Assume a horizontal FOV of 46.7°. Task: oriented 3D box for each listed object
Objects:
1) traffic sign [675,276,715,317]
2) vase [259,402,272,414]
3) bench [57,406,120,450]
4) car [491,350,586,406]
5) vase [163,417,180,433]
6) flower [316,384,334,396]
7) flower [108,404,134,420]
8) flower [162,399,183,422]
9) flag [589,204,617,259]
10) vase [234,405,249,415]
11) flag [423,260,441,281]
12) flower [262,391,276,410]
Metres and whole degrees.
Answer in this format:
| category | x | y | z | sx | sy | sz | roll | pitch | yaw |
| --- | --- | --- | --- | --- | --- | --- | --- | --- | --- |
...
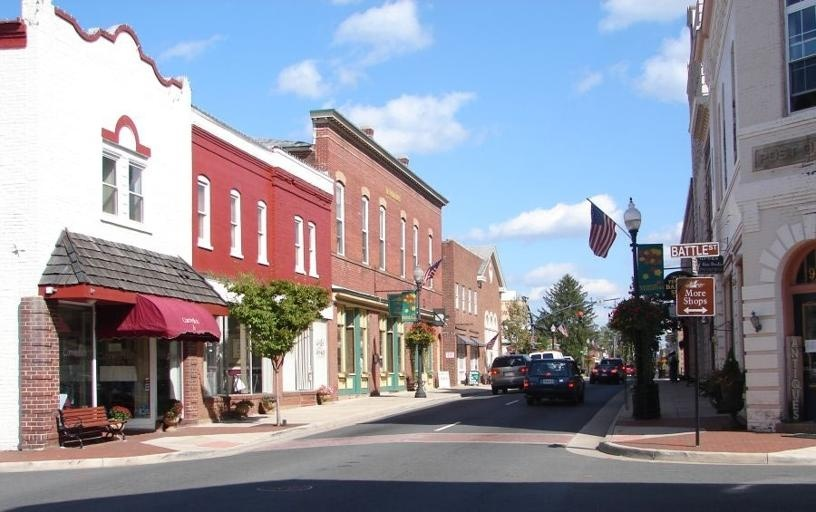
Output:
| category | x | y | z | sx | sy | sz | roll | pitch | yaw |
| --- | --- | --- | --- | --- | --- | --- | --- | --- | --- |
| traffic sign | 7.709 | 1.068 | 25.302 | 1.086 | 1.143 | 0.109 | -1 | -7 | 8 |
| vase | -5.767 | 6.112 | 38.209 | 0.471 | 0.362 | 0.450 | -5 | -11 | 22 |
| bench | -9.519 | 5.010 | 28.409 | 0.820 | 0.975 | 2.281 | -2 | -7 | 16 |
| car | 6.311 | 5.368 | 41.257 | 2.187 | 1.647 | 4.867 | -1 | -4 | 19 |
| vase | -8.000 | 5.637 | 31.823 | 0.430 | 0.329 | 0.400 | -6 | -10 | 26 |
| flower | -3.879 | 6.162 | 43.759 | 0.554 | 0.494 | 0.516 | 4 | -11 | -10 |
| flower | -9.229 | 4.983 | 30.225 | 0.538 | 0.364 | 0.556 | 1 | -7 | 5 |
| flower | -7.979 | 5.199 | 32.007 | 0.507 | 0.690 | 0.328 | 2 | -12 | 44 |
| flag | 7.227 | -1.036 | 35.265 | 0.949 | 2.296 | 1.711 | -6 | -14 | 11 |
| vase | -6.395 | 5.905 | 36.368 | 0.366 | 0.306 | 0.375 | 1 | -5 | -5 |
| flag | 1.389 | 0.838 | 57.995 | 0.594 | 0.221 | 1.715 | -44 | -8 | -23 |
| flower | -5.830 | 5.858 | 38.486 | 0.667 | 0.731 | 0.656 | -6 | -9 | 35 |
